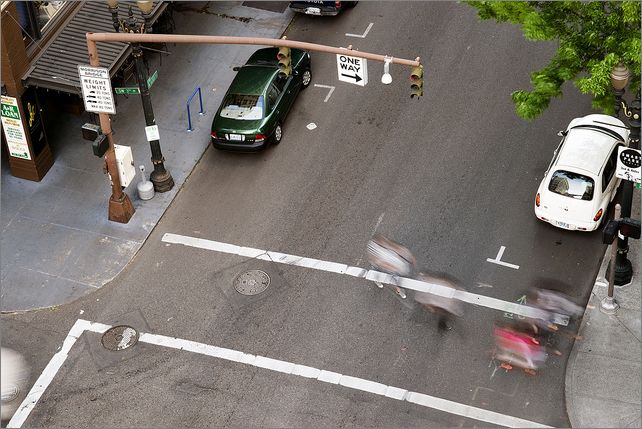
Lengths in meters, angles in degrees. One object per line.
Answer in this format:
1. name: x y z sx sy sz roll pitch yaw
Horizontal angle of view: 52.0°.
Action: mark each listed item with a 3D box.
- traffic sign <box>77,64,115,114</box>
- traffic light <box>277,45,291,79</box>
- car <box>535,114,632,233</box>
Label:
1. traffic sign: -6.950 -3.765 20.438 1.130 1.738 0.481 17 42 10
2. traffic light: -1.049 -4.253 18.751 0.349 1.171 0.913 3 42 -6
3. car: 9.140 -1.701 22.621 2.736 2.212 5.115 16 49 24
